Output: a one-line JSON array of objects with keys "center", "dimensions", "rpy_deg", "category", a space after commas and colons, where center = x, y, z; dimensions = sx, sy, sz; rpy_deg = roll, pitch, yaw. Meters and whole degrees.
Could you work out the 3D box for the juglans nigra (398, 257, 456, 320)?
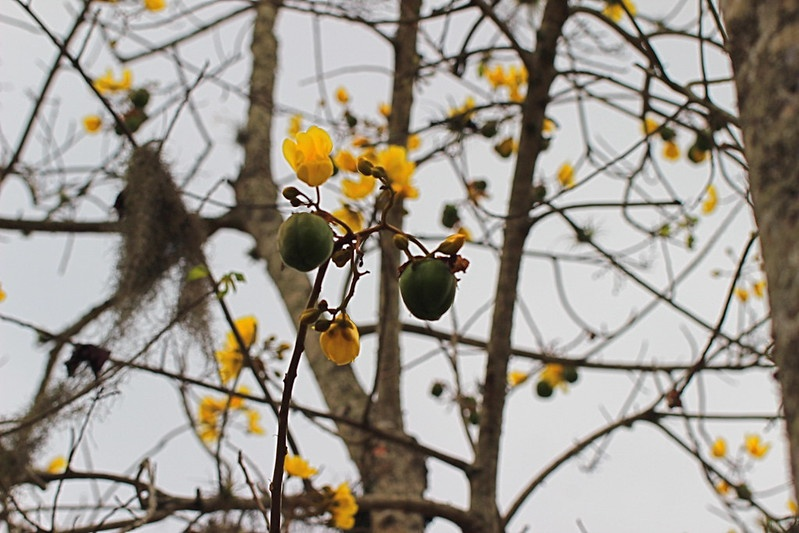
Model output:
[{"center": [0.118, 0.094, 7.793], "dimensions": [0.228, 0.282, 0.248], "rpy_deg": [3, -23, -5], "category": "juglans nigra"}]
